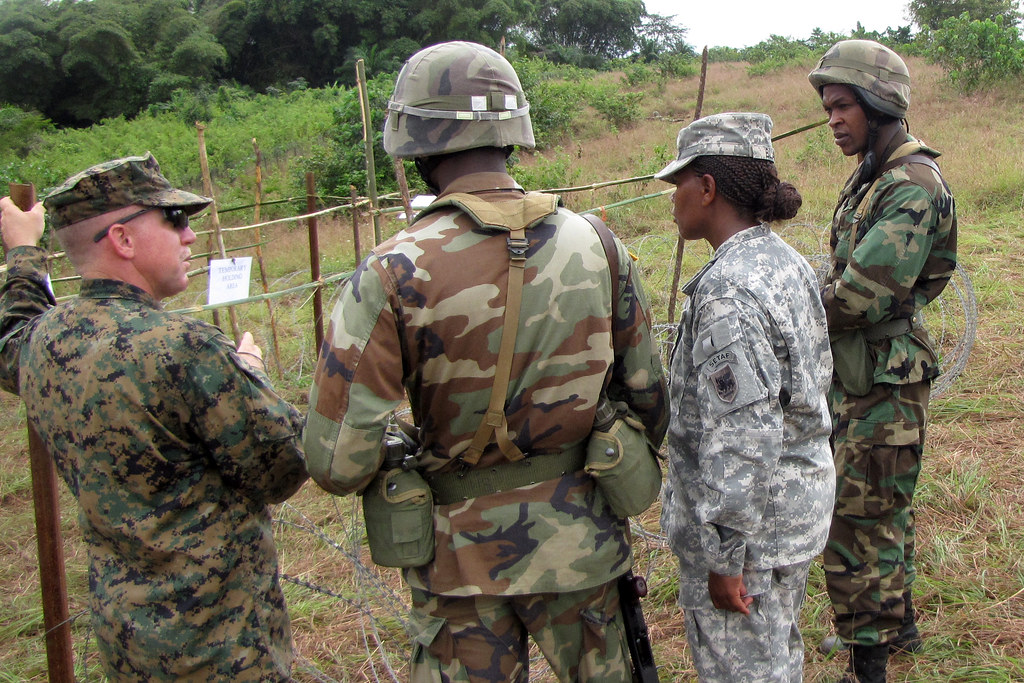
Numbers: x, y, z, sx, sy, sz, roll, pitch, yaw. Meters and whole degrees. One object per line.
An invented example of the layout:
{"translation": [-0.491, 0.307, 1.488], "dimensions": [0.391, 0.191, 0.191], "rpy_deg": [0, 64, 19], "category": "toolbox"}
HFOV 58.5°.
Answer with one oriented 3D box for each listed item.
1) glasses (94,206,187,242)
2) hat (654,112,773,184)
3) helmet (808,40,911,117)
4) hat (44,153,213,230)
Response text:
{"translation": [-1.597, -0.537, 3.998], "dimensions": [0.241, 0.067, 0.191], "rpy_deg": [-18, 12, -13], "category": "glasses"}
{"translation": [0.958, -0.882, 4.140], "dimensions": [0.372, 0.172, 0.269], "rpy_deg": [-5, 7, 7], "category": "hat"}
{"translation": [1.947, -1.467, 5.038], "dimensions": [0.545, 0.415, 0.459], "rpy_deg": [-1, 16, -10], "category": "helmet"}
{"translation": [-1.736, -0.688, 4.088], "dimensions": [0.720, 0.296, 0.484], "rpy_deg": [-9, 11, -15], "category": "hat"}
